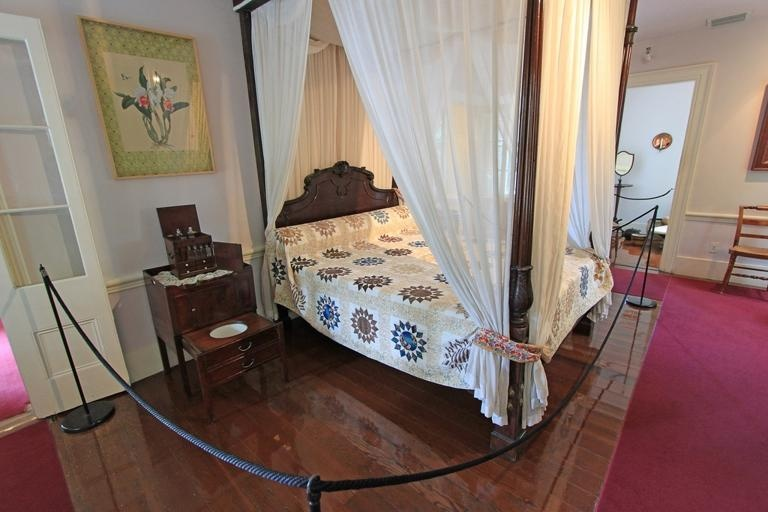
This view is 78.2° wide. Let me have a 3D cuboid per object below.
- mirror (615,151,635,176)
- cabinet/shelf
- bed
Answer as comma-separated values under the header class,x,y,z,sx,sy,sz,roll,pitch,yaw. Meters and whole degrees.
class,x,y,z,sx,sy,sz,roll,pitch,yaw
mirror,4.007,-1.526,7.821,0.263,0.426,0.517,4,15,27
cabinet/shelf,-1.483,0.633,4.176,0.780,1.207,0.995,-15,18,-40
bed,0.509,0.187,4.456,2.192,2.173,2.807,-14,18,-40
